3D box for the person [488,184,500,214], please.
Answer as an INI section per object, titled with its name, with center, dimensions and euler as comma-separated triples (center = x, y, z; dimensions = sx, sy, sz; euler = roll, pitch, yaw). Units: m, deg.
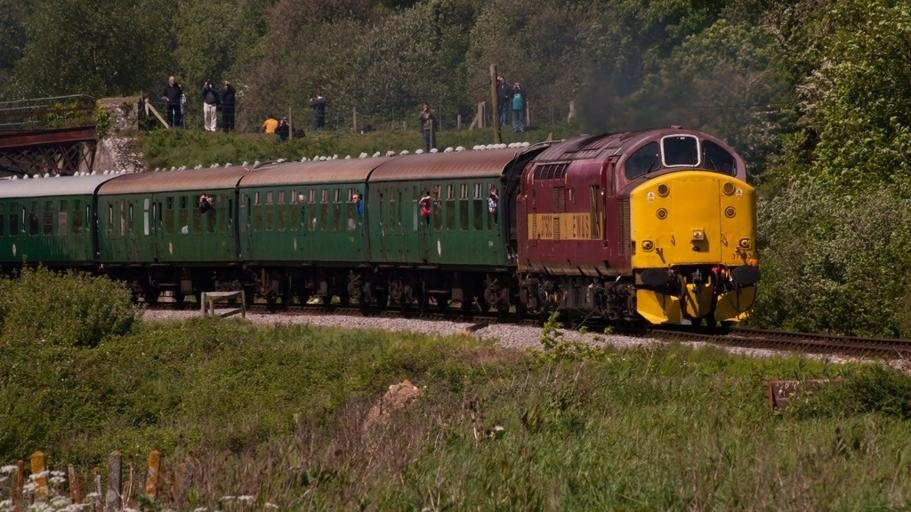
[person]
center = 1.356, -2.045, 37.854
dimensions = 0.394, 1.055, 0.119
euler = 0, 5, 29
